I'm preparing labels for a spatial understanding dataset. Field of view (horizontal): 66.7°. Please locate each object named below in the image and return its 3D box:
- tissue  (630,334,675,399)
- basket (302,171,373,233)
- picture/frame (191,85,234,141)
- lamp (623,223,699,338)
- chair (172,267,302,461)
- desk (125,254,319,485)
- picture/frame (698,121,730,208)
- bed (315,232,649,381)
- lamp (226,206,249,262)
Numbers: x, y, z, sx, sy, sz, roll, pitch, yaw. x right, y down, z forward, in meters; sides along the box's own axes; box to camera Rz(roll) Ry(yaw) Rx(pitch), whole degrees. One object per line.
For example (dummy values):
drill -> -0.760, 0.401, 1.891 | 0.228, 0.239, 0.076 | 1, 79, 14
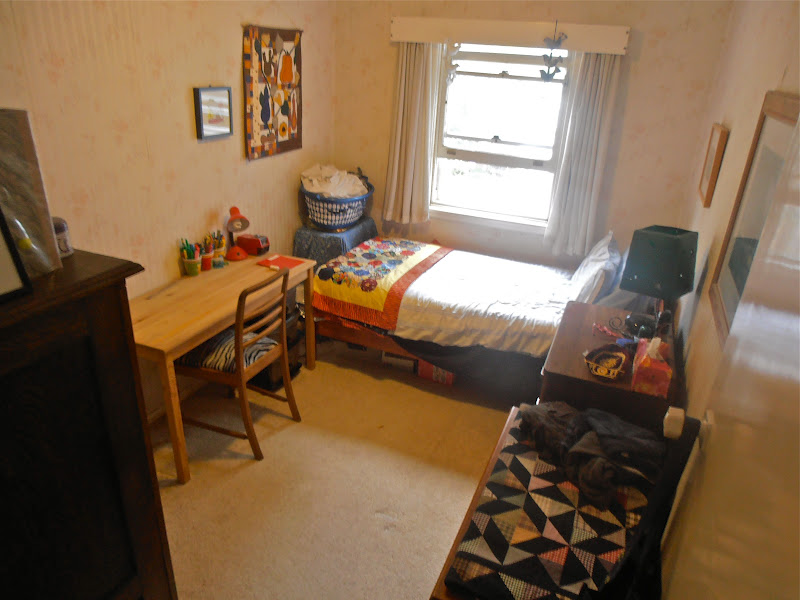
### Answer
tissue  -> 1.126, 0.243, 2.700 | 0.142, 0.281, 0.285 | 6, 27, 22
basket -> -0.447, -0.692, 4.705 | 0.444, 0.295, 0.487 | 2, 20, 25
picture/frame -> -1.083, -1.107, 3.601 | 0.365, 0.289, 0.038 | 12, 17, 42
lamp -> 1.176, -0.158, 2.735 | 0.284, 0.286, 0.162 | 1, 23, -6
chair -> -0.933, 0.287, 3.338 | 0.622, 0.955, 0.595 | 22, 28, 38
desk -> -0.882, 0.466, 3.344 | 0.895, 0.632, 0.520 | -12, 0, -34
picture/frame -> 1.739, -0.752, 3.414 | 0.046, 0.402, 0.530 | 11, 22, 18
bed -> 0.310, -0.057, 3.987 | 1.382, 0.617, 1.022 | 15, 34, 17
lamp -> -1.035, -0.426, 3.845 | 0.138, 0.306, 0.215 | -3, 24, -14
